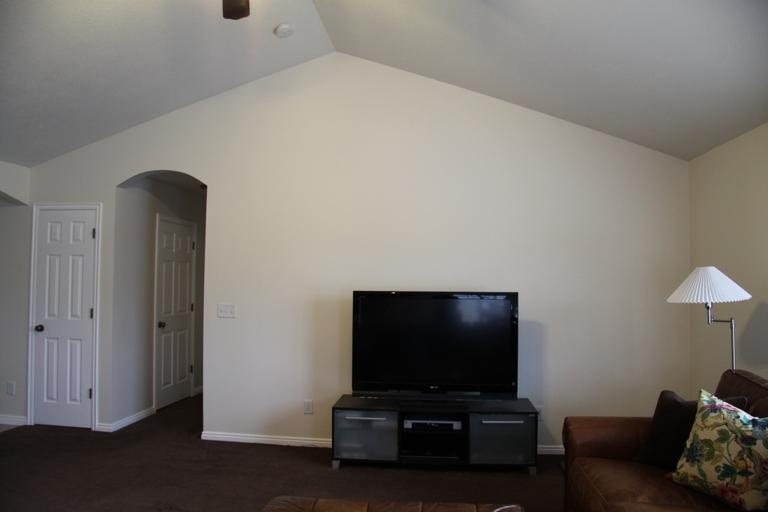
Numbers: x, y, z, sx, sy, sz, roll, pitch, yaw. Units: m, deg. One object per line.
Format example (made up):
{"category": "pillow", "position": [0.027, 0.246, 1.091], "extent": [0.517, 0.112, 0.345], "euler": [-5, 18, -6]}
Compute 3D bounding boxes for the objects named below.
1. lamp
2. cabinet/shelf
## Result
{"category": "lamp", "position": [2.881, 0.666, 5.227], "extent": [0.627, 1.098, 0.631], "euler": [-2, 9, 22]}
{"category": "cabinet/shelf", "position": [0.509, 1.803, 6.004], "extent": [2.000, 0.632, 0.599], "euler": [0, -7, 3]}
